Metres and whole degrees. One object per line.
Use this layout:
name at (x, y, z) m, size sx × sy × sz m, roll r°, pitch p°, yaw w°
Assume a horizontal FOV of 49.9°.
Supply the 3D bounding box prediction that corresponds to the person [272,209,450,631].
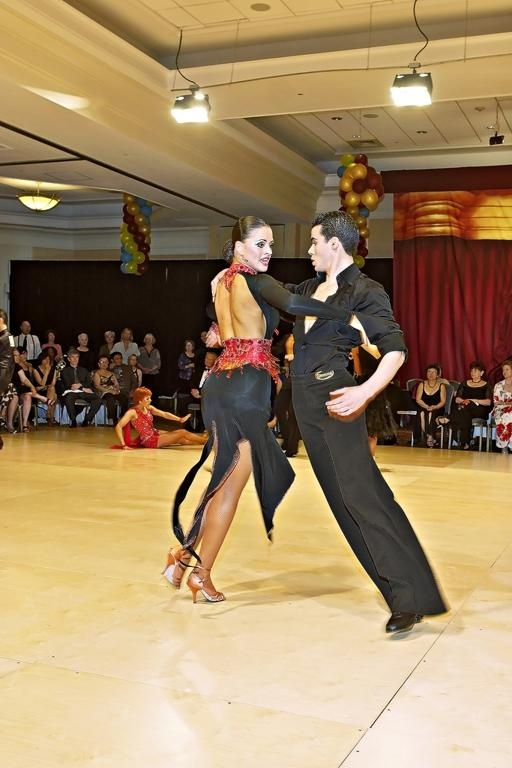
person at (0.361, 0.129, 2.048) m, size 0.435 × 1.522 × 0.562 m, roll -1°, pitch 3°, yaw -40°

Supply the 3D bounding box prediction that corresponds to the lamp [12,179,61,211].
lamp at (-4.462, -3.924, 11.533) m, size 0.748 × 0.552 × 0.729 m, roll 0°, pitch -3°, yaw 0°

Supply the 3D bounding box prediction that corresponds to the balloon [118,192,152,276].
balloon at (-2.399, -3.022, 11.064) m, size 0.549 × 1.477 × 0.573 m, roll 0°, pitch 2°, yaw -15°

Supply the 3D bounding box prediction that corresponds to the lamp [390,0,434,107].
lamp at (1.716, -3.598, 6.061) m, size 0.386 × 1.373 × 0.960 m, roll 1°, pitch 2°, yaw 16°

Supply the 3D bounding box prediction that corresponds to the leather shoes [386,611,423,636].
leather shoes at (0.506, 0.826, 1.923) m, size 0.060 × 0.075 × 0.177 m, roll -11°, pitch -9°, yaw 38°

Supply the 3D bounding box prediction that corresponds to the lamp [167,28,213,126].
lamp at (-0.813, -3.776, 6.961) m, size 0.438 × 1.327 × 1.192 m, roll 0°, pitch 2°, yaw -6°
